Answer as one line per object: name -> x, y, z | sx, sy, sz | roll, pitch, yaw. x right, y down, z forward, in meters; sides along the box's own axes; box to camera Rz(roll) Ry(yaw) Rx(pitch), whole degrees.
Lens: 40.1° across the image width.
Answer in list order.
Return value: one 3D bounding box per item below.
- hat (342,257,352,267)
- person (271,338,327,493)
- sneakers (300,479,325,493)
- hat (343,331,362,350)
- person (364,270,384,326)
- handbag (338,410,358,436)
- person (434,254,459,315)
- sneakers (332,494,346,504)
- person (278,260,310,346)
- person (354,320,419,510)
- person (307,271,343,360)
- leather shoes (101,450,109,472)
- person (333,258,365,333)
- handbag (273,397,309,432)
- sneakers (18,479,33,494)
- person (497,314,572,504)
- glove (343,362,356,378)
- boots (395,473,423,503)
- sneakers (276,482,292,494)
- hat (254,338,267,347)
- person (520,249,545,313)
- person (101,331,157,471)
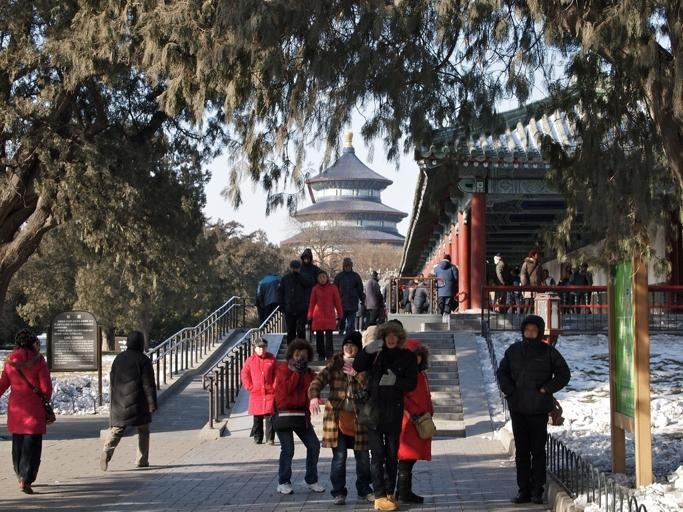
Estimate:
hat -> 0.132, 0.104, 18.793 | 0.125, 0.219, 0.200 | 1, -12, 0
person -> -0.542, 1.978, 11.641 | 0.465, 1.945, 0.584 | -1, -4, -6
sneakers -> -0.337, 2.874, 11.692 | 0.254, 0.171, 0.119 | 5, 4, -1
hat -> 0.153, 1.000, 11.185 | 0.157, 0.219, 0.216 | 16, -9, -33
person -> 0.779, 0.966, 21.584 | 0.404, 1.203, 1.011 | -1, -6, 4
handbag -> 0.091, 1.988, 11.078 | 0.195, 0.256, 0.097 | 12, -6, 0
person -> 2.562, 0.868, 23.133 | 0.532, 1.655, 0.662 | 3, -35, 7
sneakers -> -0.013, 2.873, 11.060 | 0.143, 0.113, 0.226 | -1, -7, 1
person -> -0.874, 0.951, 17.988 | 0.526, 2.031, 0.494 | 1, 17, 8
person -> 0.527, 1.845, 10.847 | 0.725, 2.178, 0.328 | -1, -6, 5
person -> -0.299, 1.097, 17.696 | 0.570, 1.810, 0.414 | 0, 16, 4
leather shoes -> -3.204, 2.786, 12.742 | 0.093, 0.304, 0.111 | -1, -14, 3
person -> 0.142, 0.869, 19.264 | 0.596, 1.905, 0.724 | 2, 21, 2
handbag -> -0.615, 1.994, 11.774 | 0.442, 0.329, 0.495 | 1, 9, -3
sneakers -> -3.930, 2.908, 11.724 | 0.077, 0.127, 0.268 | -1, -7, 3
person -> 2.274, 1.802, 11.142 | 0.794, 2.211, 0.309 | -2, -6, 13
glove -> 0.101, 1.331, 11.005 | 0.129, 0.159, 0.043 | -18, -28, 38
boots -> 0.854, 2.773, 11.232 | 0.387, 0.490, 0.191 | -1, 0, -21
sneakers -> -0.688, 2.860, 11.520 | 0.209, 0.130, 0.085 | -4, -3, 37
hat -> -1.234, 1.353, 14.606 | 0.142, 0.116, 0.231 | 1, -7, 1
person -> 4.630, 0.656, 23.133 | 0.337, 1.518, 0.499 | -1, 9, -31
person -> -2.907, 1.992, 12.949 | 0.722, 1.899, 0.508 | 1, -6, -15
